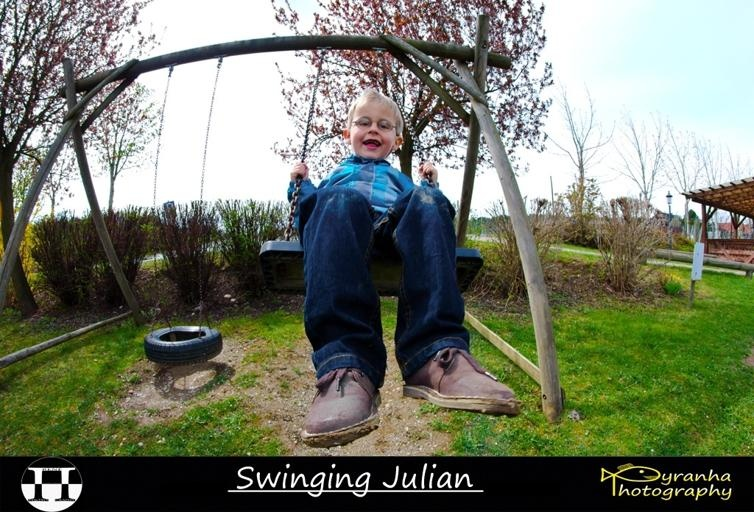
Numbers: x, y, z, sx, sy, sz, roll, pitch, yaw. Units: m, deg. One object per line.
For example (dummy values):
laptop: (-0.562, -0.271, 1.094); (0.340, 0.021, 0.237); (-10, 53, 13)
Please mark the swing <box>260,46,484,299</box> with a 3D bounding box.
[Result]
swing: (0.044, -0.772, 4.290); (1.511, 2.324, 1.980); (3, 9, 0)
